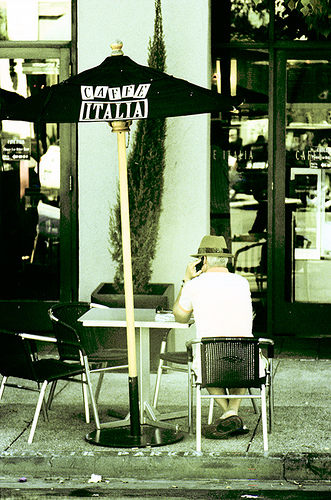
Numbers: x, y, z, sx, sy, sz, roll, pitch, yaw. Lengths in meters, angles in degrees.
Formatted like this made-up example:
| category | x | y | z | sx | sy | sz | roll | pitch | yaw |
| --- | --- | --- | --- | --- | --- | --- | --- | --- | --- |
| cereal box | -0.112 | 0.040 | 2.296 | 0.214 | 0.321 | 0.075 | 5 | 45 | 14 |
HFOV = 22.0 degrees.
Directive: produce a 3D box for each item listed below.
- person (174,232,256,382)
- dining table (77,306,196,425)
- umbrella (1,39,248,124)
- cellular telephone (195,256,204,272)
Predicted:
| category | x | y | z | sx | sy | sz | roll | pitch | yaw |
| --- | --- | --- | --- | --- | --- | --- | --- | --- | --- |
| person | 0.353 | 0.410 | 5.924 | 0.501 | 0.985 | 0.452 | 9 | 17 | 37 |
| dining table | -0.202 | 0.836 | 6.275 | 0.770 | 0.813 | 0.804 | -1 | 1 | 2 |
| umbrella | -0.299 | -1.042 | 5.456 | 1.488 | 0.429 | 0.336 | 0 | 7 | 7 |
| cellular telephone | 0.278 | 0.108 | 6.728 | 0.074 | 0.101 | 0.089 | -8 | -25 | -9 |
